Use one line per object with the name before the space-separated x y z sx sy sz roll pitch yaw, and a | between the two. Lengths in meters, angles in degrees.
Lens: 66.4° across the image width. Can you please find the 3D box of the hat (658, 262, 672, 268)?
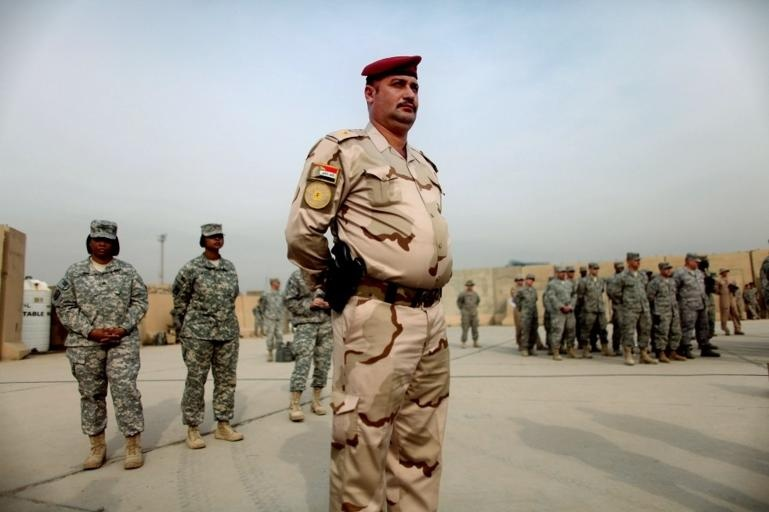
hat | 6.037 0.201 12.707 0.194 0.084 0.258 -2 1 -3

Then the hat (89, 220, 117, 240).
hat | -3.164 -0.282 6.571 0.244 0.113 0.319 10 25 -22

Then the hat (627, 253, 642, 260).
hat | 4.550 0.014 10.683 0.171 0.116 0.225 -2 -1 -44

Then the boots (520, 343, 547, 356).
boots | 3.786 2.380 14.922 0.194 0.261 0.635 -13 -29 35

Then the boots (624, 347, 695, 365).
boots | 5.887 2.123 12.472 0.822 0.352 0.251 -10 -20 16

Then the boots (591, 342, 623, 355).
boots | 5.587 2.263 14.570 0.569 0.269 1.373 -1 -4 4

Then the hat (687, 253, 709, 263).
hat | 6.719 0.056 12.589 0.450 0.144 0.291 -1 2 38

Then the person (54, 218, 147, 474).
person | -3.396 1.025 7.052 1.022 2.904 0.596 0 -5 -16

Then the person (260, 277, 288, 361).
person | -2.982 1.689 16.043 0.795 2.181 0.608 -2 10 -27

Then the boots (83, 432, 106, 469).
boots | -3.413 2.277 6.919 0.229 0.382 0.277 0 -5 -16

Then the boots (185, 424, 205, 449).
boots | -2.377 2.265 7.414 0.236 0.251 0.351 1 -5 -19

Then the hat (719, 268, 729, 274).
hat | 10.493 0.507 18.120 0.246 0.152 0.318 -10 -16 12

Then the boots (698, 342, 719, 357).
boots | 7.205 2.061 12.963 0.371 0.274 0.778 -3 -5 29

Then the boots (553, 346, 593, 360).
boots | 4.494 2.309 13.997 0.706 0.277 0.220 -18 -18 29

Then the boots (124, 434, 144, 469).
boots | -2.963 2.286 6.932 0.224 0.358 0.353 1 -5 -23

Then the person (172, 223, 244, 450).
person | -2.266 0.981 7.539 0.869 2.817 0.776 1 -5 -19

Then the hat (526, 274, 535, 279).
hat | 3.842 0.516 15.418 0.191 0.075 0.254 1 -7 2
